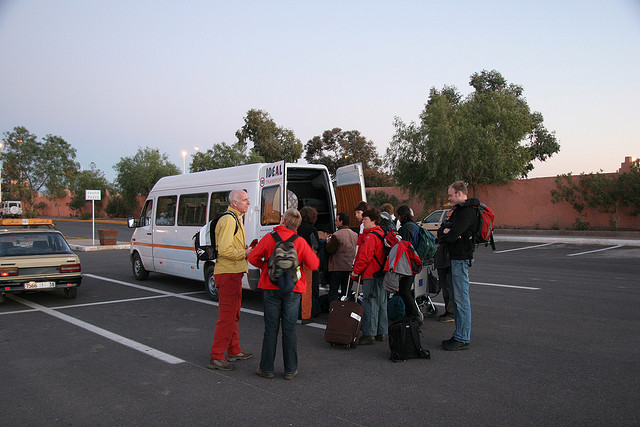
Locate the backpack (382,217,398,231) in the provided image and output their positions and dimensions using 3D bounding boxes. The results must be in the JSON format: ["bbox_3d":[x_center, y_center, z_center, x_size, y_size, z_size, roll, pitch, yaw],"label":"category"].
[{"bbox_3d":[1.369,0.201,7.827,0.343,0.211,0.365,5,11,-4],"label":"backpack"}]

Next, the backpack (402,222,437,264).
[{"bbox_3d":[1.957,0.526,7.733,0.664,0.679,0.475,9,8,27],"label":"backpack"}]

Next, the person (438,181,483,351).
[{"bbox_3d":[2.302,0.847,6.474,0.700,2.742,0.416,0,3,9],"label":"person"}]

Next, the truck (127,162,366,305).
[{"bbox_3d":[-2.239,0.491,10.761,5.909,2.828,3.417,6,6,40],"label":"truck"}]

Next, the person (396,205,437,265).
[{"bbox_3d":[1.912,0.373,7.728,0.612,1.138,0.693,-8,23,19],"label":"person"}]

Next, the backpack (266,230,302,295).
[{"bbox_3d":[-0.483,0.681,5.479,0.476,0.854,0.495,2,2,34],"label":"backpack"}]

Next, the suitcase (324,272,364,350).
[{"bbox_3d":[0.444,1.598,6.692,0.511,1.289,0.330,-1,-25,30],"label":"suitcase"}]

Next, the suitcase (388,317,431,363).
[{"bbox_3d":[1.366,1.978,6.188,0.627,0.676,0.383,-5,-12,-11],"label":"suitcase"}]
